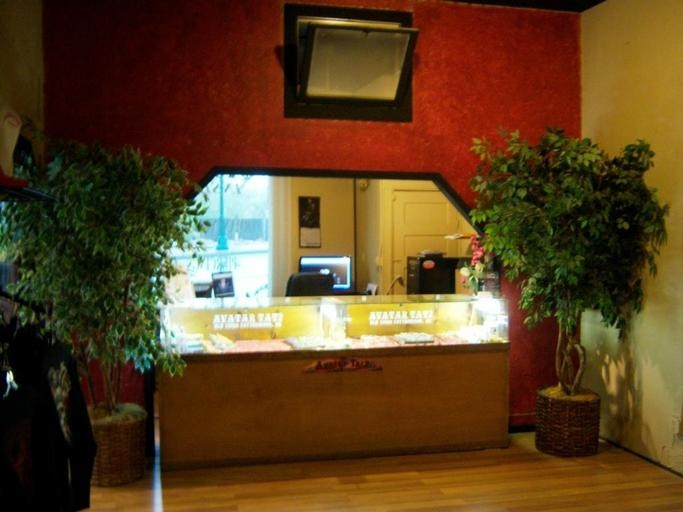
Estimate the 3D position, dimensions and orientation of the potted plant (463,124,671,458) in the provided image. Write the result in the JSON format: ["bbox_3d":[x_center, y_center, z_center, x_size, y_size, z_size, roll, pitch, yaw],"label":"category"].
[{"bbox_3d":[1.789,0.375,5.315,1.065,2.611,1.339,-1,-5,-32],"label":"potted plant"}]

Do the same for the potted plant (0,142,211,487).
[{"bbox_3d":[-1.634,0.476,4.333,0.822,2.474,1.273,8,11,42],"label":"potted plant"}]

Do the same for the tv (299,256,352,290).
[{"bbox_3d":[-0.164,0.196,8.411,0.766,0.458,0.571,2,-9,-7],"label":"tv"}]

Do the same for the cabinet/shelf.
[{"bbox_3d":[-0.029,0.910,5.405,2.851,1.433,0.853,-2,16,-5],"label":"cabinet/shelf"}]

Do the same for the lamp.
[{"bbox_3d":[0.029,-1.600,5.120,0.952,0.861,0.328,1,35,-13],"label":"lamp"}]
